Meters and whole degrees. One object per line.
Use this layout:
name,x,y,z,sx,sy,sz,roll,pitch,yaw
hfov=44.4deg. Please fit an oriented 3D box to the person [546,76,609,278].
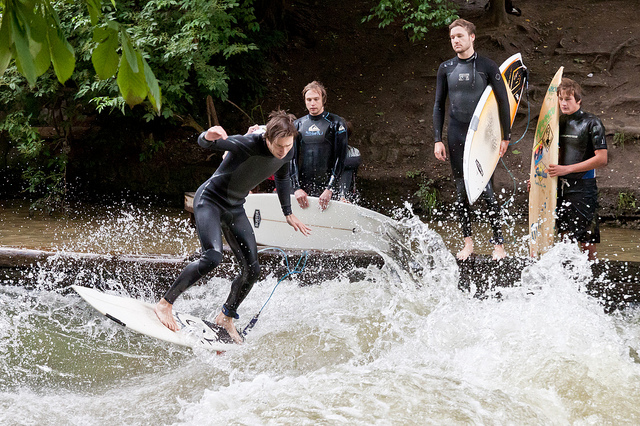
person,3.348,-0.575,10.280,0.705,2.178,0.789,4,22,16

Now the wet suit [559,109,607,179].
wet suit,3.400,-0.924,10.481,0.394,1.006,1.035,-3,5,-29

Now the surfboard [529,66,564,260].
surfboard,2.985,-0.657,10.431,0.367,2.253,1.466,3,22,15

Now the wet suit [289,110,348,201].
wet suit,0.004,-0.810,11.029,0.739,1.171,0.583,0,21,5

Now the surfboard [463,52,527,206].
surfboard,2.216,-1.112,10.218,0.476,1.662,1.579,8,24,25

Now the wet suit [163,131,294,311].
wet suit,-1.070,0.100,9.357,1.418,2.172,0.560,-6,21,-10
